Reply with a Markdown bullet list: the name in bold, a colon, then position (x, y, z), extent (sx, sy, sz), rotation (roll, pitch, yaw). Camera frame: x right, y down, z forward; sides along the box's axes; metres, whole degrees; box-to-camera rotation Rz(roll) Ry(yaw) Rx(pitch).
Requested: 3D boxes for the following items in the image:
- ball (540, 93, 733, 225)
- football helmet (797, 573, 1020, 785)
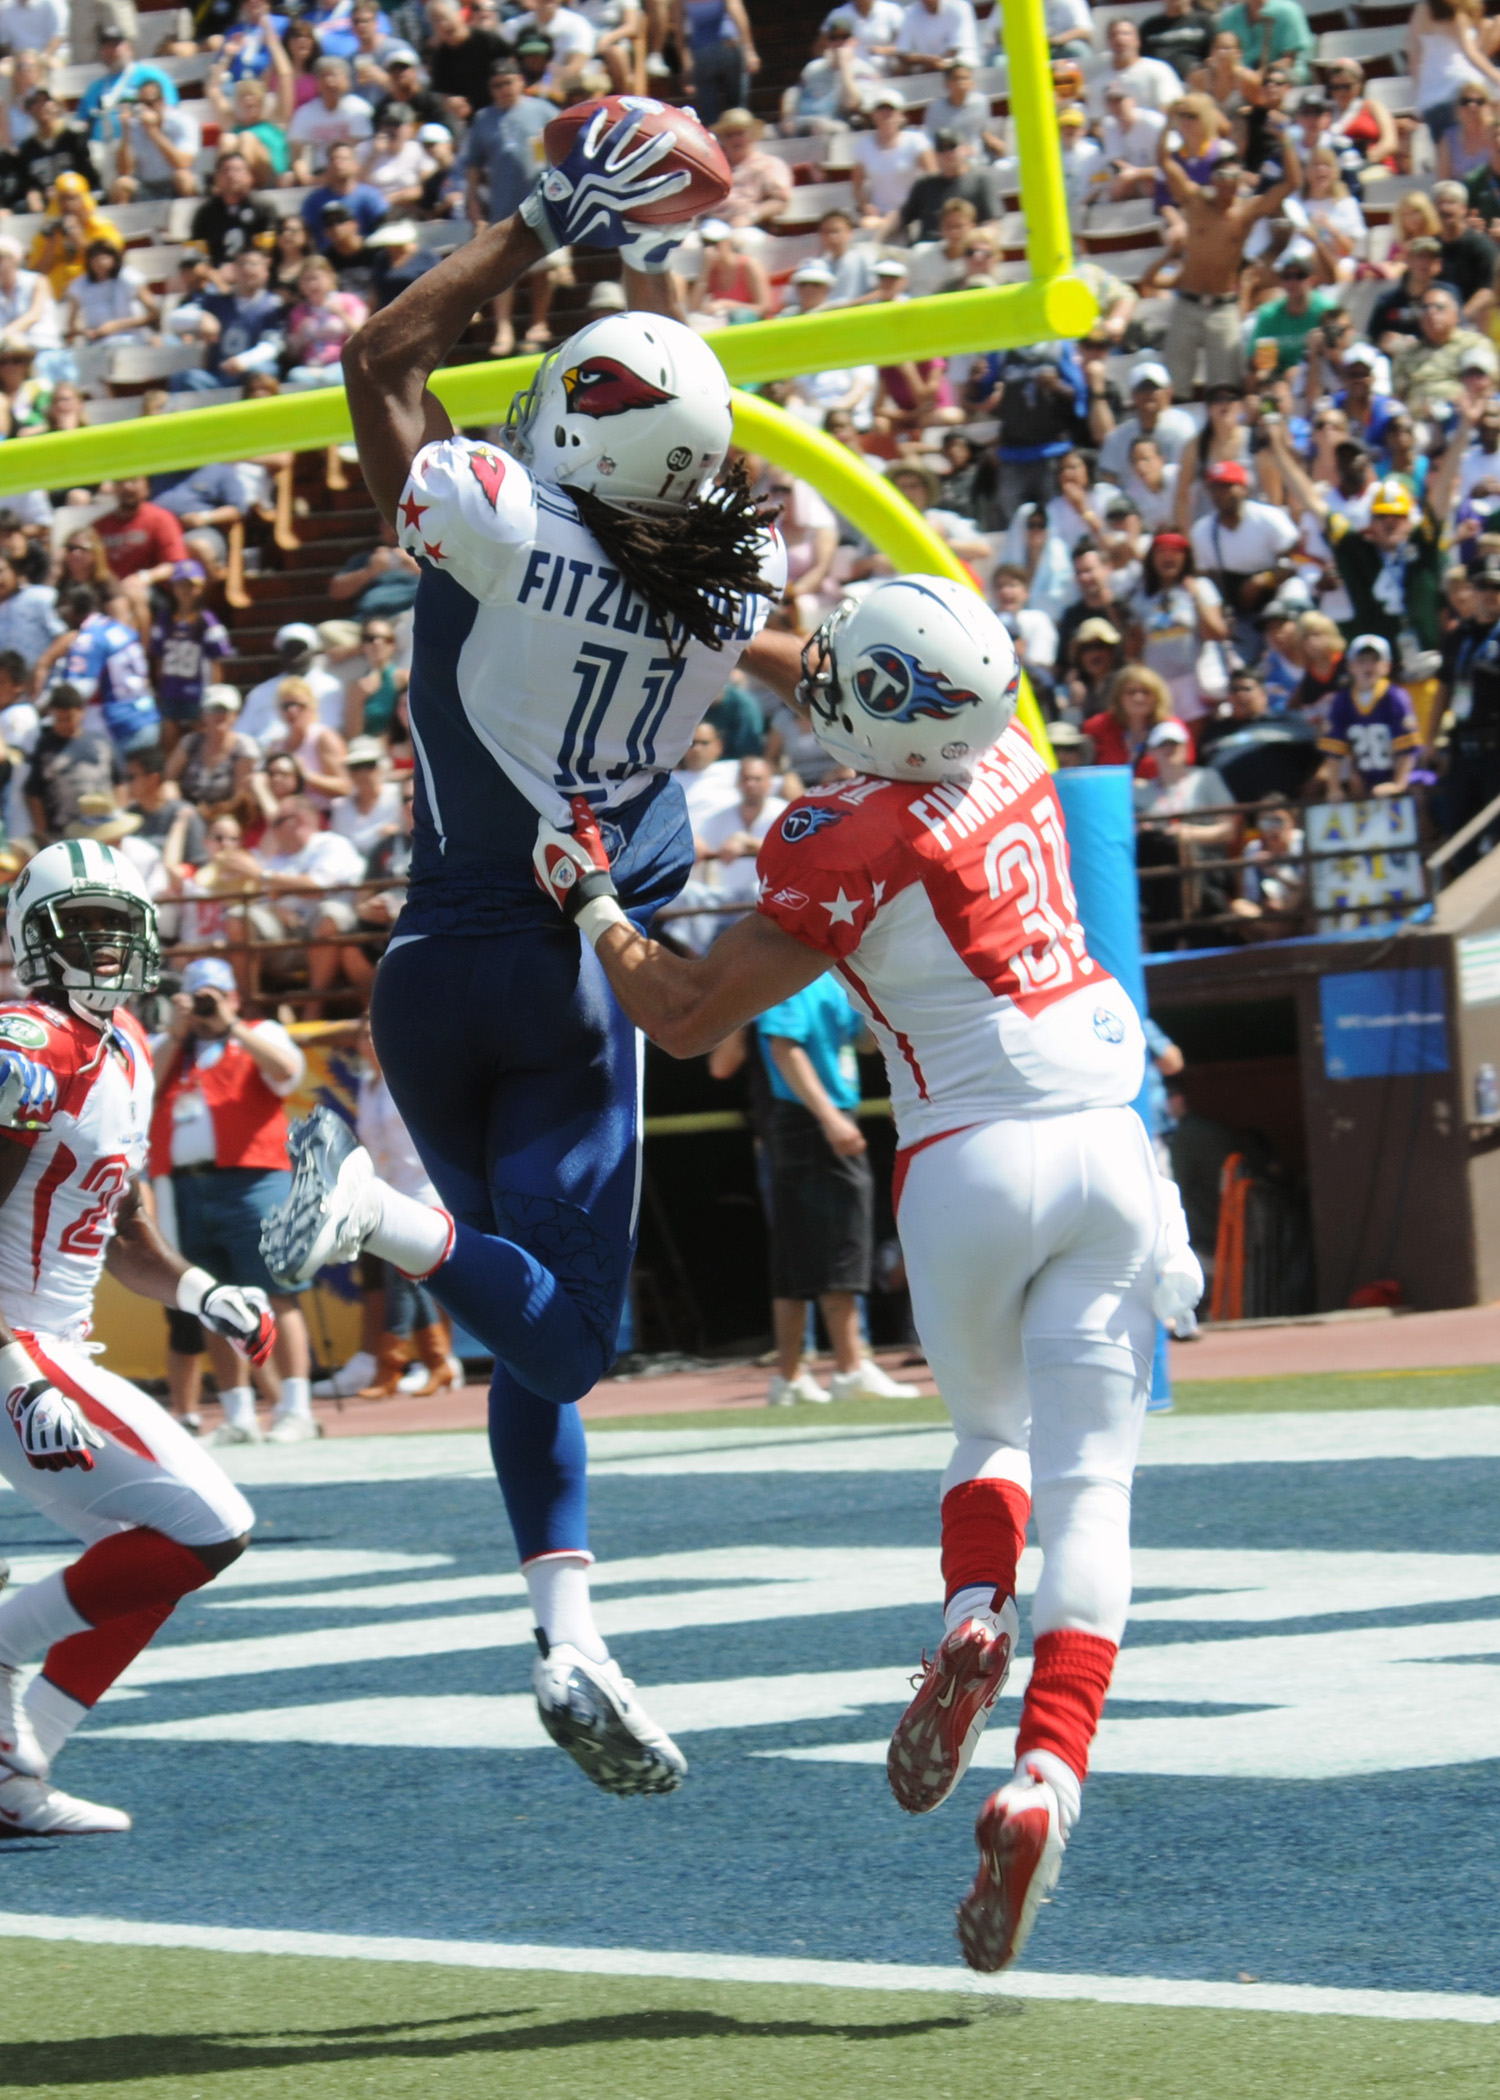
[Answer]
- **ball**: position (-0.134, -1.139, 3.023), extent (0.252, 0.121, 0.164), rotation (17, -2, 5)
- **football helmet**: position (0.180, -0.396, 2.486), extent (0.216, 0.182, 0.251), rotation (-15, 33, -35)
